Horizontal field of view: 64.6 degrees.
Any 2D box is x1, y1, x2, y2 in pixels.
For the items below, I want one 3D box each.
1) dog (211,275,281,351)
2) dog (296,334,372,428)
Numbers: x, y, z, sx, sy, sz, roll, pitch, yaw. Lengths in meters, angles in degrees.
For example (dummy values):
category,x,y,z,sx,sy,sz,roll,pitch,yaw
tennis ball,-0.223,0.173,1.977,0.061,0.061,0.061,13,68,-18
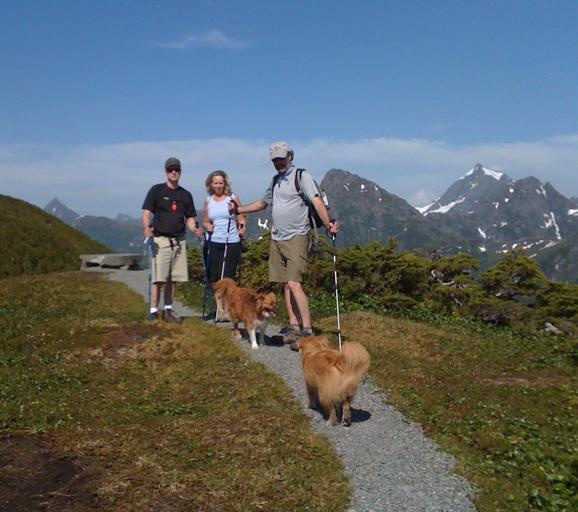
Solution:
category,x,y,z,sx,sy,sz,roll,pitch,yaw
dog,-0.871,1.148,9.450,0.531,1.088,2.421,-3,6,-33
dog,0.580,1.666,6.263,0.481,1.221,1.096,4,4,-28
